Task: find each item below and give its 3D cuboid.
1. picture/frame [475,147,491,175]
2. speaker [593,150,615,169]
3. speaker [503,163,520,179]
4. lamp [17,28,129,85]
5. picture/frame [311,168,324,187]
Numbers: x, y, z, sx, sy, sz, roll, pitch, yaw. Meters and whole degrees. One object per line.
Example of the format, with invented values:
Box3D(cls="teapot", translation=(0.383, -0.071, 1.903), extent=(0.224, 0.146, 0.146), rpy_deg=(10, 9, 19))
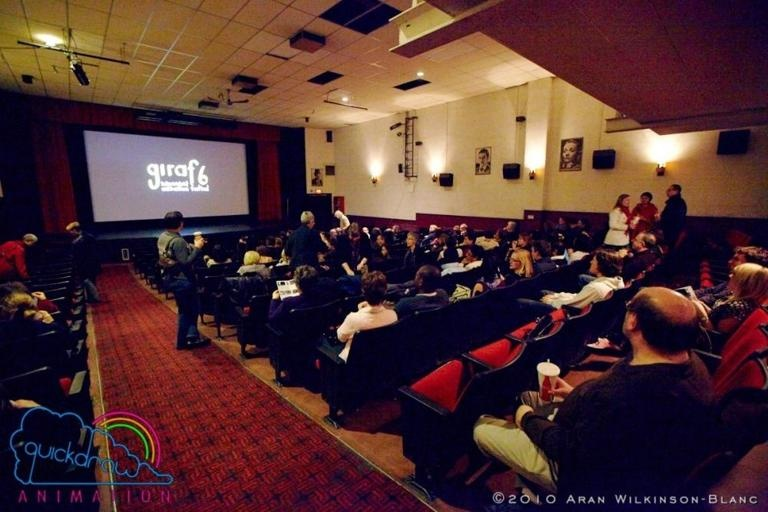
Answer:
Box3D(cls="picture/frame", translation=(2.495, -2.345, 12.262), extent=(0.066, 0.892, 0.667), rpy_deg=(-13, 15, -41))
Box3D(cls="speaker", translation=(4.559, -1.963, 10.143), extent=(0.387, 0.359, 0.139), rpy_deg=(8, 10, 44))
Box3D(cls="speaker", translation=(2.997, -1.956, 11.592), extent=(0.424, 0.368, 0.259), rpy_deg=(8, 14, 40))
Box3D(cls="lamp", translation=(-5.525, -3.343, 8.450), extent=(1.010, 0.323, 0.995), rpy_deg=(-5, -10, 11))
Box3D(cls="picture/frame", translation=(-2.277, -2.659, 16.748), extent=(0.606, 0.776, 0.083), rpy_deg=(-9, 18, -38))
